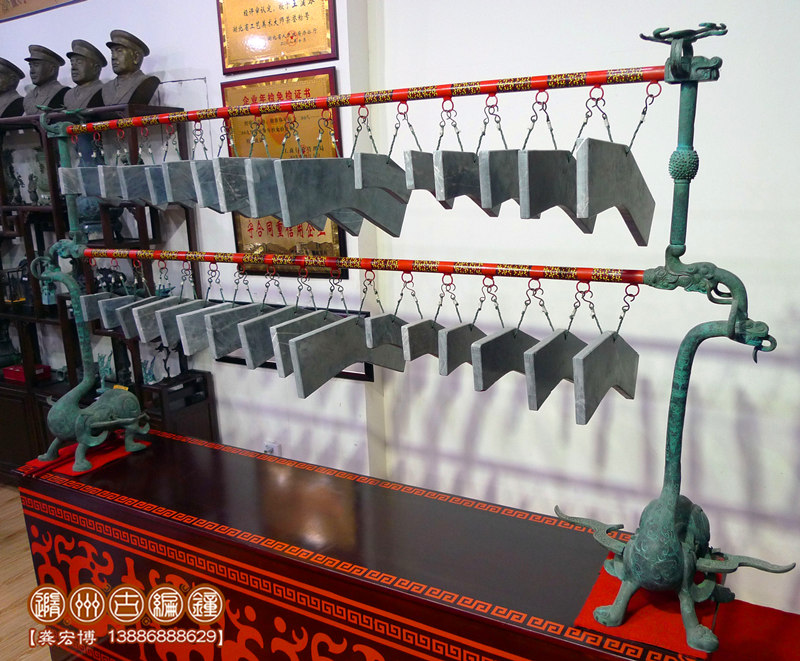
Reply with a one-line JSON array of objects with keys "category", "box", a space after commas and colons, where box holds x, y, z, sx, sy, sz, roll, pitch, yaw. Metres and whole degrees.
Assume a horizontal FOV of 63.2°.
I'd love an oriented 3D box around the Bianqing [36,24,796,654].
[{"category": "Bianqing", "box": [0.037, 0.117, 1.995, 2.130, 1.880, 0.840, 10, 19, 29]}]
